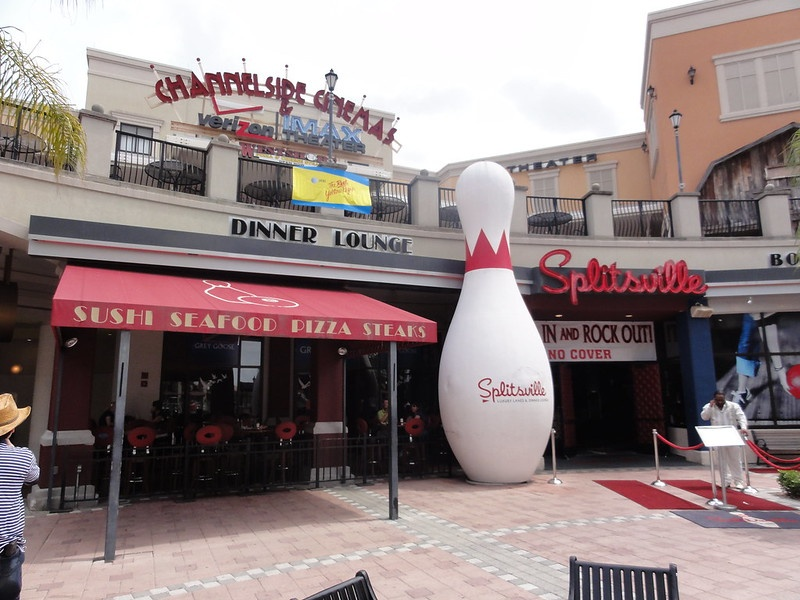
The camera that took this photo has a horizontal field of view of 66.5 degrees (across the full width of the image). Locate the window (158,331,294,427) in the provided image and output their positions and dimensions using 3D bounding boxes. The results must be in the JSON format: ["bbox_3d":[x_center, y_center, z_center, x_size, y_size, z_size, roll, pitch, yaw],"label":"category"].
[{"bbox_3d":[-5.328,2.466,18.142,3.081,3.319,0.163,2,-9,-20],"label":"window"}]

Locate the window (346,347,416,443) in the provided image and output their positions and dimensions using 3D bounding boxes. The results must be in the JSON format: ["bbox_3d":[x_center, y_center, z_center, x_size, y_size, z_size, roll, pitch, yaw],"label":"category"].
[{"bbox_3d":[-0.877,3.032,19.684,1.794,3.304,1.763,2,-7,-12],"label":"window"}]

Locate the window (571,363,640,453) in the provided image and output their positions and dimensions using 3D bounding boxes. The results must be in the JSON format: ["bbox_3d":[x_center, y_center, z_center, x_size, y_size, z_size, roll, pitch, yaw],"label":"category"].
[{"bbox_3d":[6.778,3.694,20.056,2.554,3.567,0.287,-8,-11,43],"label":"window"}]

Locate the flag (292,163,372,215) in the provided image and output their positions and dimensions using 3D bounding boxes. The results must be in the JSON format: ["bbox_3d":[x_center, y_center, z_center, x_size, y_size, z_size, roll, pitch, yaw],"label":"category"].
[{"bbox_3d":[-1.737,-2.697,15.074,2.561,1.417,0.249,5,-17,-21],"label":"flag"}]

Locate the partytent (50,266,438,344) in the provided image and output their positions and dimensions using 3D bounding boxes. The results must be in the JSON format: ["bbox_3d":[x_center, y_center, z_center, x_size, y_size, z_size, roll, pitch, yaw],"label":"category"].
[{"bbox_3d":[-3.463,0.151,10.890,4.575,0.938,2.027,10,-14,-34],"label":"partytent"}]
